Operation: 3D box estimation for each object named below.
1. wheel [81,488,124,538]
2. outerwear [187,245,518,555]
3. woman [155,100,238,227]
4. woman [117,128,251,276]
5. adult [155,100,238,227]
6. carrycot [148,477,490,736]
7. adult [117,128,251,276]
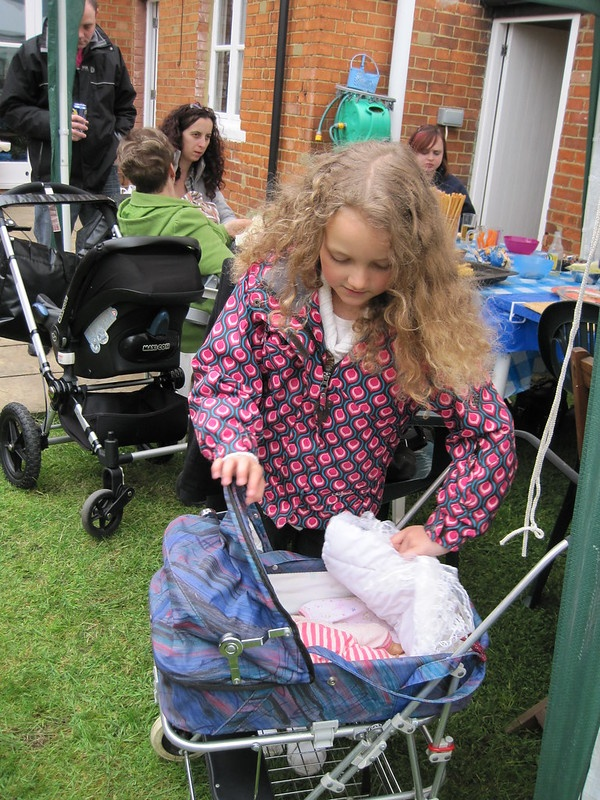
[{"bbox_3d":[-0.718,0.405,2.401,0.130,0.192,0.174,-1,24,-10],"label":"wheel"},{"bbox_3d":[0.110,0.032,1.356,0.674,0.596,0.495,14,30,9],"label":"outerwear"},{"bbox_3d":[-0.592,-1.335,3.750,0.505,0.616,0.661,10,19,-18],"label":"woman"},{"bbox_3d":[-0.523,-0.887,2.988,0.497,0.604,0.584,18,25,40],"label":"woman"},{"bbox_3d":[-0.576,-1.327,3.752,0.583,0.627,0.681,11,24,-16],"label":"adult"},{"bbox_3d":[0.027,0.385,1.084,0.541,0.319,0.381,6,20,-15],"label":"carrycot"},{"bbox_3d":[-0.548,-0.902,2.971,0.496,0.591,0.570,21,31,31],"label":"adult"}]
